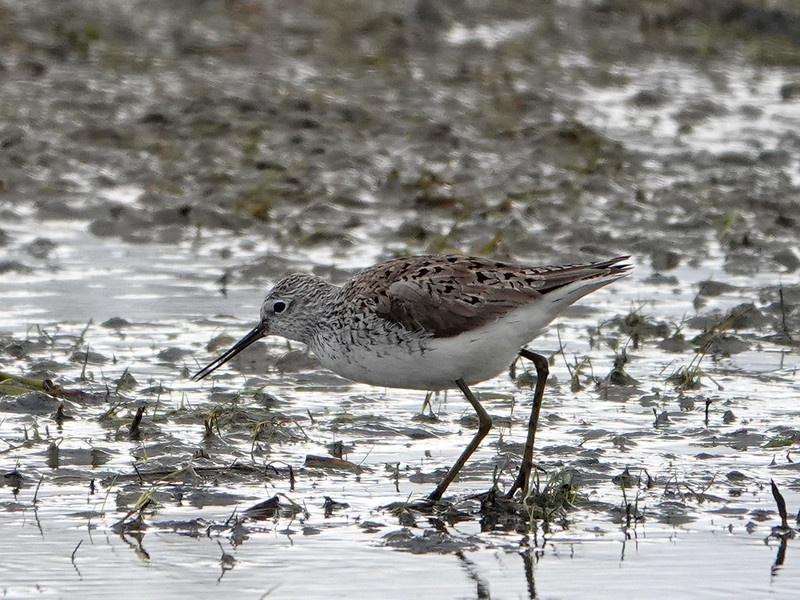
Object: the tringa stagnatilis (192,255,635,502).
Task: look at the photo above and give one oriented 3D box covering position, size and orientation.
[{"bbox_3d":[0.096,0.357,4.767,1.848,1.237,0.633,0,-7,36],"label":"tringa stagnatilis"}]
